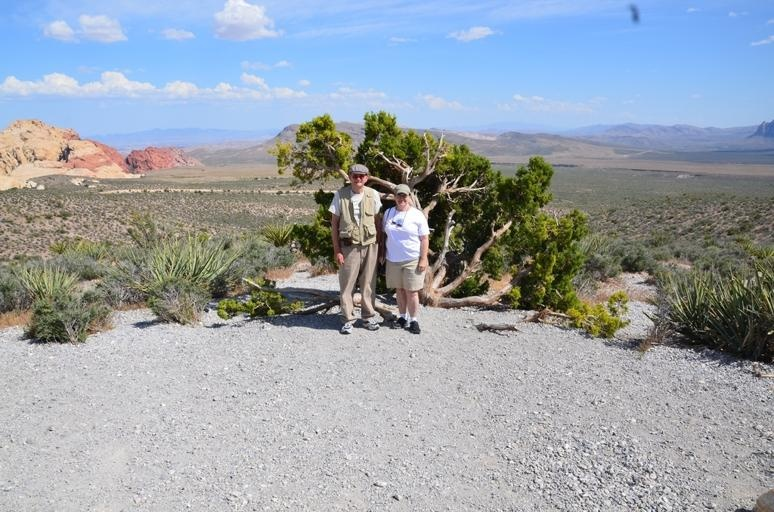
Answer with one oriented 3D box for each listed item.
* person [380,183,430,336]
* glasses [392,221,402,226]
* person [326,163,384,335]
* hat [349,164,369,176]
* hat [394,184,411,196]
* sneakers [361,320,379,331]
[{"bbox_3d":[0.228,0.041,8.065,0.668,2.155,0.465,2,17,8],"label":"person"},{"bbox_3d":[0.133,-0.472,7.919,0.133,0.070,0.030,3,0,12],"label":"glasses"},{"bbox_3d":[-0.459,-0.103,8.052,0.718,2.456,0.493,-2,17,-8],"label":"person"},{"bbox_3d":[-0.424,-1.239,7.895,0.323,0.150,0.440,3,6,-5],"label":"hat"},{"bbox_3d":[0.205,-0.953,7.939,0.303,0.163,0.445,0,2,4],"label":"hat"},{"bbox_3d":[-0.250,1.047,8.357,0.230,0.101,0.123,4,8,39],"label":"sneakers"}]
